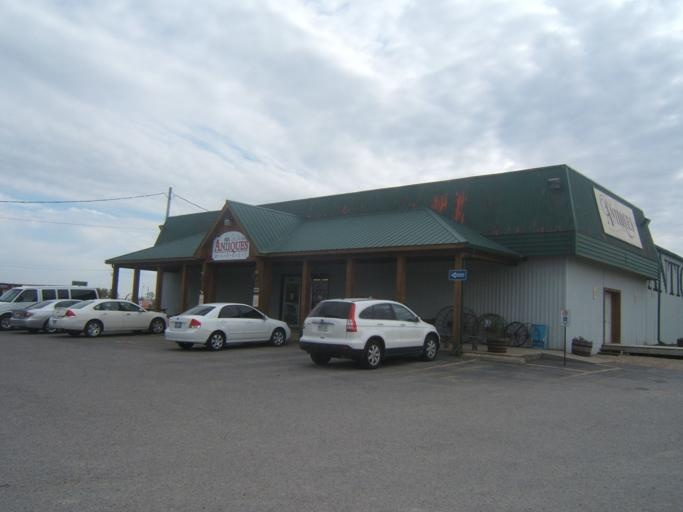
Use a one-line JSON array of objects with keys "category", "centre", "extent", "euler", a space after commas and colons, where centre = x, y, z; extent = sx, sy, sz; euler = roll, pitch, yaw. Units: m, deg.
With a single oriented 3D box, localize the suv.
[{"category": "suv", "centre": [0.935, 2.258, 14.495], "extent": [3.705, 1.644, 1.907], "euler": [2, -5, -44]}]
